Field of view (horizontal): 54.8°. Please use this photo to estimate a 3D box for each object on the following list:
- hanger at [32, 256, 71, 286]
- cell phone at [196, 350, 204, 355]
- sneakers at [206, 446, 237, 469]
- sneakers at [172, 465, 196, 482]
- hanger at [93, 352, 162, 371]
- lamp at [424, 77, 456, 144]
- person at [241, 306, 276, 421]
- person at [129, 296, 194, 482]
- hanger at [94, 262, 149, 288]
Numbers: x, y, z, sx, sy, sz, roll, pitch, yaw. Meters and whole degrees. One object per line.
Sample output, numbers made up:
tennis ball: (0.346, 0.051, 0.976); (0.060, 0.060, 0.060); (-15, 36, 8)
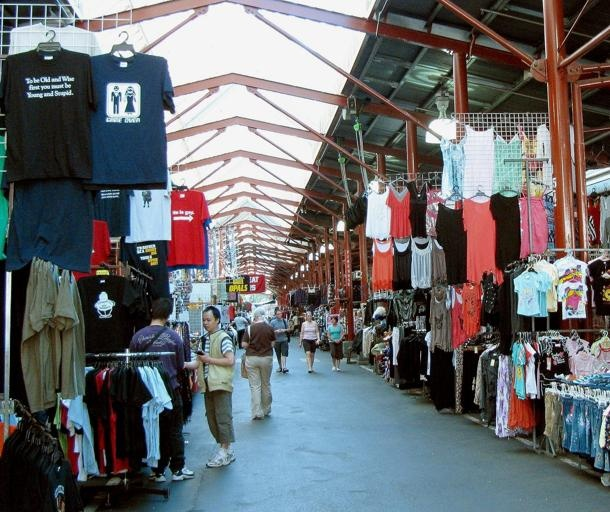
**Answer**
hanger: (-1.741, 0.111, 4.105); (0.291, 0.198, 0.163); (2, -4, -39)
cell phone: (-1.162, 1.067, 6.548); (0.068, 0.086, 0.045); (1, -2, 10)
sneakers: (-0.942, 2.298, 6.700); (0.128, 0.169, 0.346); (-4, -12, 30)
sneakers: (-1.271, 2.273, 6.212); (0.230, 0.171, 0.101); (-3, 1, -24)
hanger: (-1.704, 0.978, 5.549); (0.726, 0.136, 0.453); (-1, -3, -5)
lamp: (2.615, -2.715, 11.291); (0.537, 0.986, 0.614); (-1, 11, 5)
person: (-0.752, 1.725, 9.603); (0.522, 1.746, 0.619); (0, -3, -7)
person: (-1.436, 1.375, 5.997); (0.530, 1.898, 1.017); (0, -3, -2)
hanger: (-1.921, 0.184, 6.321); (0.364, 0.188, 0.380); (-1, -6, 15)
